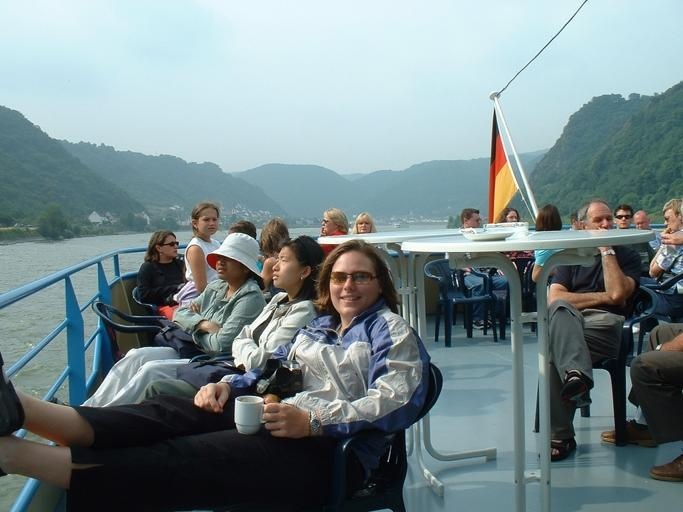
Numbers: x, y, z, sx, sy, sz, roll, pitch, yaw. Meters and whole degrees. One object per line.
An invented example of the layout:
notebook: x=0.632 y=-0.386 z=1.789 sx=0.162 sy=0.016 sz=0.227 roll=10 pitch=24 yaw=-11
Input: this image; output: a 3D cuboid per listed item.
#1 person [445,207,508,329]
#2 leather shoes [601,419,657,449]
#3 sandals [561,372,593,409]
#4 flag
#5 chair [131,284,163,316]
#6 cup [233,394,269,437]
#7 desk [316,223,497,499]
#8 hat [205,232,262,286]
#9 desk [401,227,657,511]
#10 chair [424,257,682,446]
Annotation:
person: x=1.564 y=0.163 z=6.008 sx=0.758 sy=1.447 sz=0.560 roll=5 pitch=12 yaw=18
leather shoes: x=1.610 y=1.017 z=3.025 sx=0.351 sy=0.167 sz=0.133 roll=2 pitch=-6 yaw=19
sandals: x=1.178 y=0.682 z=2.626 sx=0.104 sy=0.110 sz=0.267 roll=-28 pitch=-37 yaw=3
flag: x=3.243 y=-1.882 z=10.565 sx=0.482 sy=2.292 sz=1.325 roll=-2 pitch=3 yaw=12
chair: x=-1.869 y=0.426 z=5.024 sx=0.191 sy=0.270 sz=0.201 roll=-4 pitch=37 yaw=-2
cup: x=-0.325 y=0.586 z=1.882 sx=0.132 sy=0.099 sz=0.086 roll=0 pitch=-6 yaw=-5
desk: x=0.216 y=0.527 z=3.454 sx=1.226 sy=1.548 sz=1.279 roll=-3 pitch=-3 yaw=21
hat: x=-0.587 y=-0.015 z=3.225 sx=0.301 sy=0.198 sz=0.366 roll=0 pitch=-36 yaw=40
desk: x=0.829 y=0.531 z=2.639 sx=1.207 sy=1.408 sz=1.192 roll=0 pitch=-3 yaw=-23
chair: x=1.369 y=0.622 z=3.320 sx=1.018 sy=1.271 sz=0.949 roll=-1 pitch=7 yaw=-5
